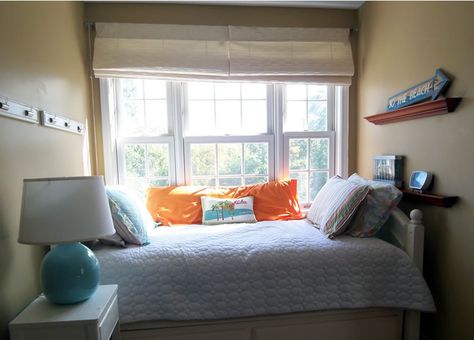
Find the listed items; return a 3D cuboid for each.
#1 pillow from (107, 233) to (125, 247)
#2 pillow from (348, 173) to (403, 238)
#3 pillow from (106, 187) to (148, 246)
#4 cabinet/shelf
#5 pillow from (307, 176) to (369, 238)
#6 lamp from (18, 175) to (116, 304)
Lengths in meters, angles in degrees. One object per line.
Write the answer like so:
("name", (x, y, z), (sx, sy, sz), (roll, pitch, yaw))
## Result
("pillow", (-0.915, 0.538, 2.636), (0.135, 0.046, 0.135), (21, 21, 8))
("pillow", (1.074, 0.315, 2.755), (0.197, 0.428, 0.425), (27, -5, -24))
("pillow", (-0.861, 0.354, 2.741), (0.132, 0.424, 0.425), (-23, -19, -2))
("cabinet/shelf", (1.446, -0.136, 2.857), (0.215, 0.814, 0.802), (-6, 5, -14))
("pillow", (0.804, 0.302, 2.821), (0.130, 0.430, 0.436), (30, 4, -5))
("lamp", (-1.101, 0.455, 2.303), (0.582, 0.796, 0.565), (-4, 0, -16))
